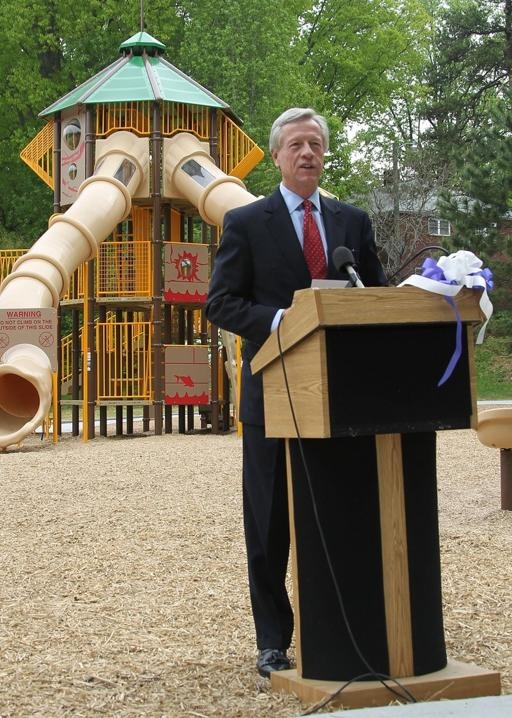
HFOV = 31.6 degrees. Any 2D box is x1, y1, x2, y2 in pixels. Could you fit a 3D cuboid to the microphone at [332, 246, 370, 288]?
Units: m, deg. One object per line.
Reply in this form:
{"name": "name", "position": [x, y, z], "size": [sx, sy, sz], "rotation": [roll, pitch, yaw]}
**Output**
{"name": "microphone", "position": [0.265, -0.237, 2.569], "size": [0.051, 0.213, 0.055], "rotation": [-16, -41, 1]}

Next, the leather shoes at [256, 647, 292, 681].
{"name": "leather shoes", "position": [0.058, 0.955, 2.824], "size": [0.109, 0.081, 0.175], "rotation": [-2, 0, 0]}

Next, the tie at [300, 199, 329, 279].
{"name": "tie", "position": [0.182, -0.375, 2.869], "size": [0.069, 0.230, 0.130], "rotation": [-2, 0, -12]}

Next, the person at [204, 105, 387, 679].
{"name": "person", "position": [0.142, 0.103, 2.875], "size": [0.583, 1.656, 0.548], "rotation": [-2, 0, -7]}
